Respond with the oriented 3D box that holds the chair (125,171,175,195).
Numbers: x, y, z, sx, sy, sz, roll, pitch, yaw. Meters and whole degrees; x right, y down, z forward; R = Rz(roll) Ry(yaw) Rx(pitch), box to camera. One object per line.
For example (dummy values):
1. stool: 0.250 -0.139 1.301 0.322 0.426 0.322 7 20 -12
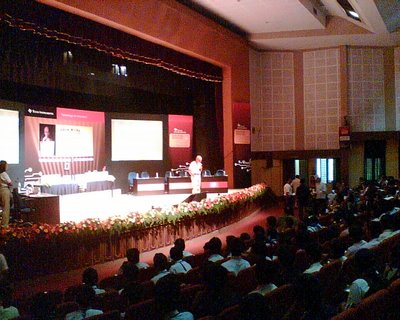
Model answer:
1. chair: -2.046 1.003 13.331 1.205 0.686 0.628 1 -5 -24
